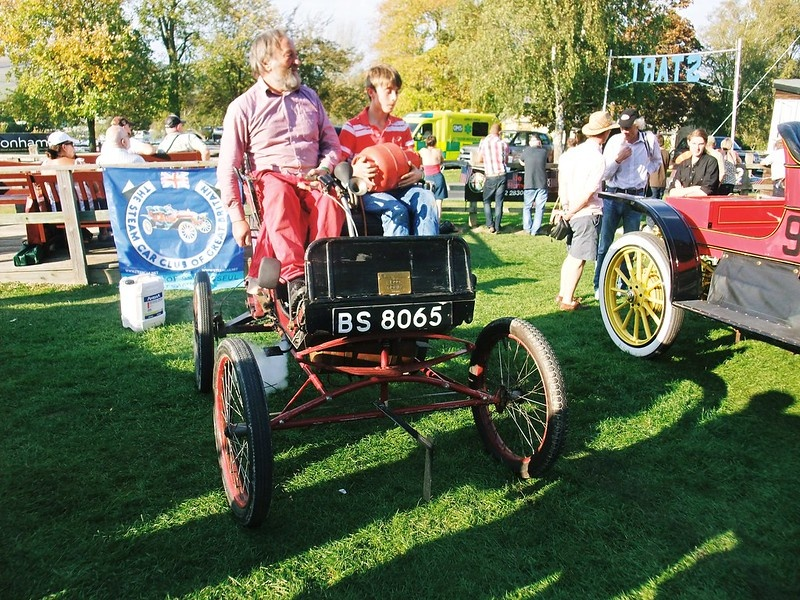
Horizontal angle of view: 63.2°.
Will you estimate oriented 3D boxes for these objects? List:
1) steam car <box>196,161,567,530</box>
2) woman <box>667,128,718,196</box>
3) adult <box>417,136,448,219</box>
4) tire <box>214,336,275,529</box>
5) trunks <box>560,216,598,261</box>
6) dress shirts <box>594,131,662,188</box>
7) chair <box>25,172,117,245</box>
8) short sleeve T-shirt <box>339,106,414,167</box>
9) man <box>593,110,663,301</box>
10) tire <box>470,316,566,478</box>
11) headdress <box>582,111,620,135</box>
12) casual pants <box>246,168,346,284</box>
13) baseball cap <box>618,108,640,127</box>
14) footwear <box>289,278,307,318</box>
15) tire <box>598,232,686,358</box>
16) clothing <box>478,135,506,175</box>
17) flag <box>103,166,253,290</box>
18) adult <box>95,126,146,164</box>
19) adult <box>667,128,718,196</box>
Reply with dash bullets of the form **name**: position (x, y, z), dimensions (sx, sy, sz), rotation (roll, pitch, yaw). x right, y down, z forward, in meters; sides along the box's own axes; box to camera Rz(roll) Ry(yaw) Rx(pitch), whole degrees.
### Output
- **steam car**: position (-0.151, 0.138, 4.766), dimensions (2.813, 2.187, 1.836), rotation (-3, 12, -7)
- **woman**: position (4.190, -1.895, 9.239), dimensions (0.591, 1.028, 0.625), rotation (2, 1, -35)
- **adult**: position (0.624, -2.409, 13.012), dimensions (0.621, 1.897, 0.541), rotation (-12, 34, -11)
- **tire**: position (-1.033, 0.905, 4.235), dimensions (0.163, 0.959, 0.871), rotation (-5, 18, -19)
- **trunks**: position (2.190, -0.702, 7.719), dimensions (0.303, 0.586, 0.556), rotation (7, -14, -9)
- **dress shirts**: position (3.029, -1.799, 8.506), dimensions (0.770, 0.813, 0.423), rotation (-2, 21, -4)
- **chair**: position (-4.804, -1.377, 9.394), dimensions (1.120, 0.880, 0.506), rotation (-2, 7, -15)
- **short sleeve T-shirt**: position (-0.193, -1.353, 5.348), dimensions (0.724, 0.707, 0.412), rotation (-4, 12, -11)
- **man**: position (2.960, -1.143, 8.249), dimensions (0.815, 2.515, 0.699), rotation (6, -8, 6)
- **tire**: position (0.859, 0.760, 4.812), dimensions (0.225, 1.111, 1.007), rotation (0, 1, -18)
- **headdress**: position (2.356, -2.010, 7.522), dimensions (0.337, 0.159, 0.397), rotation (20, 52, 35)
- **casual pants**: position (-0.681, -0.444, 4.700), dimensions (0.566, 0.794, 0.630), rotation (-9, -28, -7)
- **baseball cap**: position (2.828, -2.244, 8.045), dimensions (0.176, 0.154, 0.278), rotation (7, 40, 37)
- **footwear**: position (-0.667, -0.009, 4.224), dimensions (0.107, 0.262, 0.450), rotation (-4, 13, -11)
- **tire**: position (2.414, -0.037, 6.420), dimensions (0.420, 1.489, 1.218), rotation (0, -1, -20)
- **clothing**: position (1.894, -2.929, 13.226), dimensions (0.669, 0.907, 0.456), rotation (8, 17, 37)
- **flag**: position (-2.872, -1.017, 8.464), dimensions (1.654, 1.886, 0.044), rotation (-4, -29, -27)
- **adult**: position (-4.487, -2.645, 10.624), dimensions (0.382, 0.551, 0.755), rotation (0, -2, 37)
- **adult**: position (4.153, -1.898, 9.228), dimensions (0.601, 1.000, 0.676), rotation (3, 2, 23)
